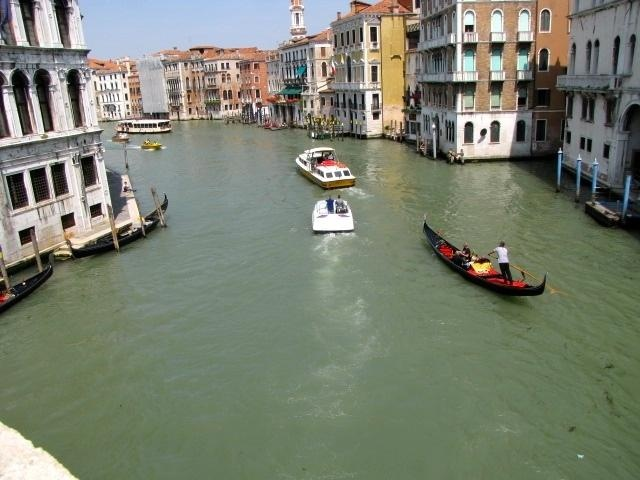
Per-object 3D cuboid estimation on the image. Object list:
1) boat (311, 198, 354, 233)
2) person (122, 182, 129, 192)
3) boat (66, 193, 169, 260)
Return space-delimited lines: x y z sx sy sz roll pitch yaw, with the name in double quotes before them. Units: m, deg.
"boat" 0.816 -1.730 36.596 2.737 1.965 2.413 -4 19 -2
"person" -17.974 -4.942 50.513 0.641 0.361 3.297 -7 26 -18
"boat" -13.335 -0.680 36.807 1.458 2.367 7.823 17 35 15
